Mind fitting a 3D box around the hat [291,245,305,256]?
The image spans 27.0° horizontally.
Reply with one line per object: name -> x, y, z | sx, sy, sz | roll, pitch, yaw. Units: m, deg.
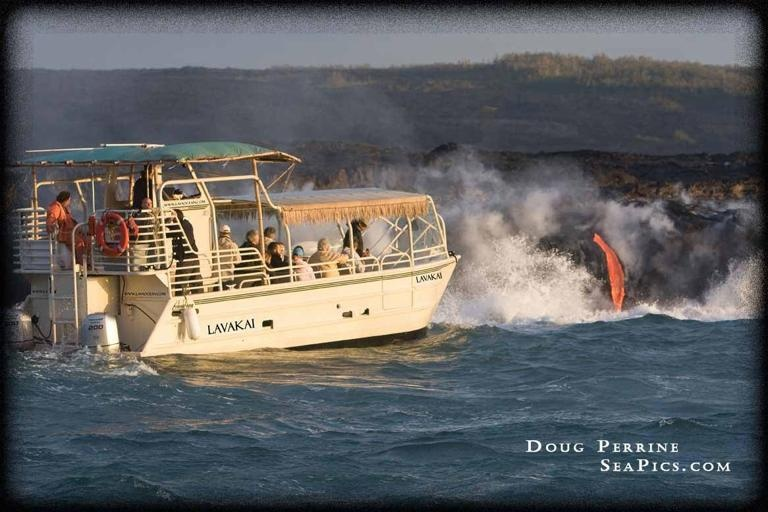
hat -> -2.667, -0.137, 50.920 | 0.309, 0.282, 0.404 | 7, 1, -37

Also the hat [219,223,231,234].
hat -> -4.958, -0.838, 50.214 | 0.337, 0.150, 0.430 | 2, 8, -10

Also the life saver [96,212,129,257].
life saver -> -8.181, -0.649, 48.172 | 1.232, 1.237, 0.354 | 4, 6, 39

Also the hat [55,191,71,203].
hat -> -9.785, -1.797, 48.932 | 0.383, 0.373, 0.444 | 6, 10, -14
